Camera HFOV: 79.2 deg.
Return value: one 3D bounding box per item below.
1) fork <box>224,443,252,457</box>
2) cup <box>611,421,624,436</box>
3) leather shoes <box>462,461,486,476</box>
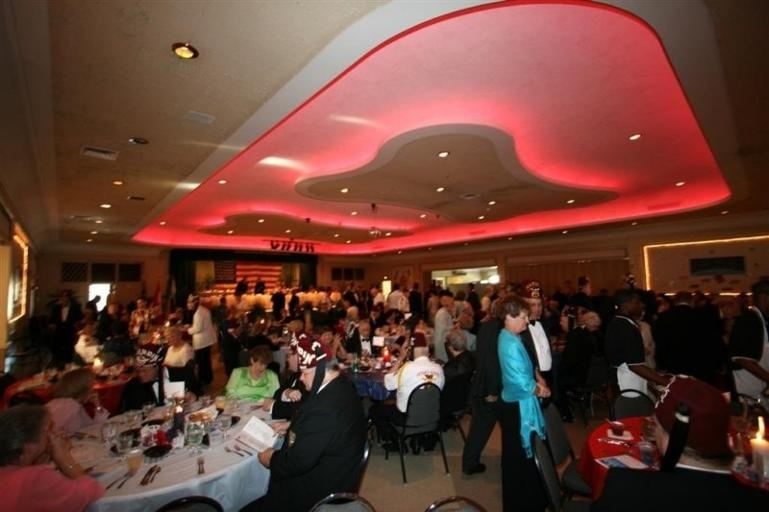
[{"bbox_3d":[-1.389,1.846,4.398,0.099,0.025,0.231,-3,4,-44],"label":"fork"},{"bbox_3d":[2.259,1.662,4.485,0.112,0.073,0.108,-1,-11,0],"label":"cup"},{"bbox_3d":[1.107,2.568,5.669,0.334,0.131,0.114,-11,14,-24],"label":"leather shoes"}]
